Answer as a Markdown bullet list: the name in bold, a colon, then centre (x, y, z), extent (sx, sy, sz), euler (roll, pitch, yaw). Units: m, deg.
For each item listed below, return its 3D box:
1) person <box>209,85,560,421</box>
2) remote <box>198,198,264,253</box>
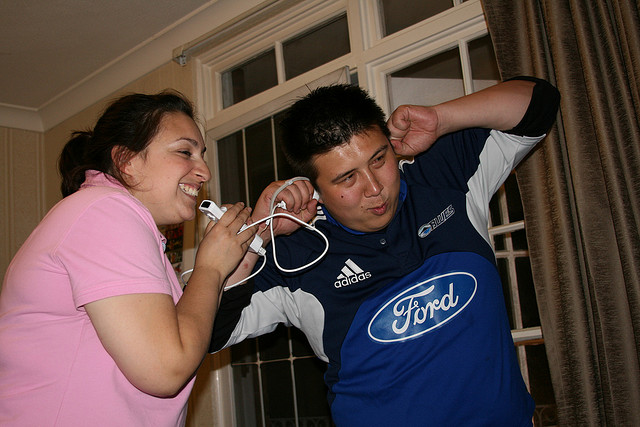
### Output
- **person**: centre (0.304, 0.150, 2.476), extent (1.458, 1.484, 0.400), euler (-8, -15, -2)
- **remote**: centre (-0.361, 0.050, 2.436), extent (0.365, 0.087, 0.115), euler (39, -14, -28)
